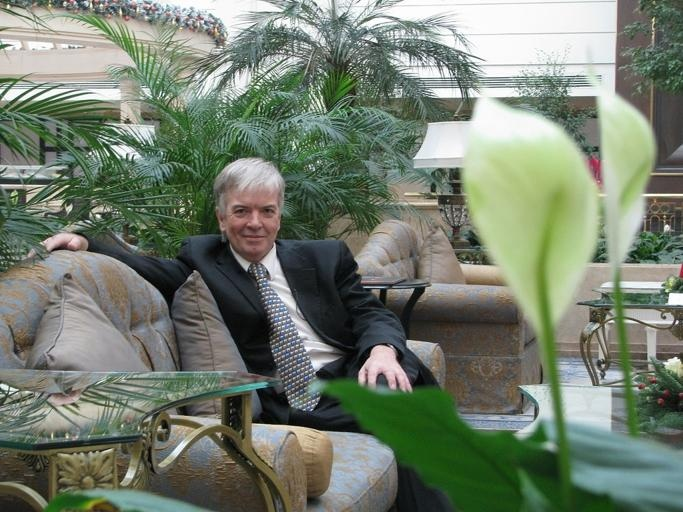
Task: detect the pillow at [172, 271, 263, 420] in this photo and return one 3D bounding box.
[{"bbox_3d":[-0.323,0.232,1.631,0.167,0.329,0.310,-15,-19,-20],"label":"pillow"}]

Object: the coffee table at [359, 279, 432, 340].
[{"bbox_3d":[0.274,0.282,3.275,0.344,0.329,0.315,7,9,22],"label":"coffee table"}]

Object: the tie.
[{"bbox_3d":[-0.194,0.257,2.019,0.150,0.578,0.054,-21,-31,-9],"label":"tie"}]

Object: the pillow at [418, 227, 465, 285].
[{"bbox_3d":[0.674,-0.001,4.257,0.187,0.340,0.402,-13,-40,22],"label":"pillow"}]

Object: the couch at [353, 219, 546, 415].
[{"bbox_3d":[0.700,0.301,4.173,0.888,1.027,1.557,-3,5,11],"label":"couch"}]
